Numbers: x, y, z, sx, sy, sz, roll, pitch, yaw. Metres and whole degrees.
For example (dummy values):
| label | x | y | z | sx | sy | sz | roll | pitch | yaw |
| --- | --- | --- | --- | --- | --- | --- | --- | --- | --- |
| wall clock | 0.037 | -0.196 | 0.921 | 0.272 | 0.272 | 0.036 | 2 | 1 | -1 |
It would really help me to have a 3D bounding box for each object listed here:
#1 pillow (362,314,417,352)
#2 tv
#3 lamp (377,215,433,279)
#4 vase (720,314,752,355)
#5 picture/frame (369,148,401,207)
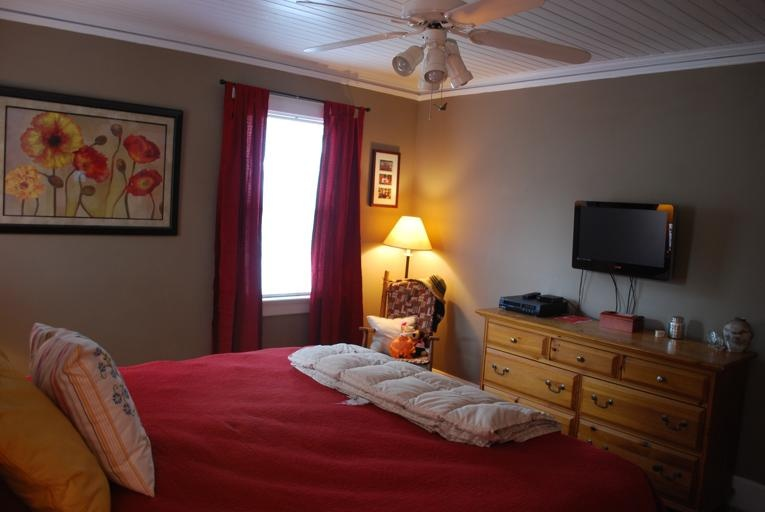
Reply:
| label | x | y | z | sx | sy | sz | roll | pitch | yaw |
| --- | --- | --- | --- | --- | --- | --- | --- | --- | --- |
| pillow | 0.094 | 0.671 | 4.764 | 0.355 | 0.350 | 0.164 | -1 | -22 | 1 |
| tv | 2.043 | -0.128 | 4.331 | 0.715 | 0.601 | 0.078 | 9 | 7 | 41 |
| lamp | 0.283 | -0.099 | 5.685 | 0.480 | 0.673 | 0.564 | 1 | 5 | 8 |
| vase | 2.609 | 0.581 | 3.813 | 0.184 | 0.239 | 0.140 | 2 | 5 | 14 |
| picture/frame | 0.010 | -0.870 | 5.726 | 0.404 | 0.658 | 0.056 | -3 | 7 | -39 |
